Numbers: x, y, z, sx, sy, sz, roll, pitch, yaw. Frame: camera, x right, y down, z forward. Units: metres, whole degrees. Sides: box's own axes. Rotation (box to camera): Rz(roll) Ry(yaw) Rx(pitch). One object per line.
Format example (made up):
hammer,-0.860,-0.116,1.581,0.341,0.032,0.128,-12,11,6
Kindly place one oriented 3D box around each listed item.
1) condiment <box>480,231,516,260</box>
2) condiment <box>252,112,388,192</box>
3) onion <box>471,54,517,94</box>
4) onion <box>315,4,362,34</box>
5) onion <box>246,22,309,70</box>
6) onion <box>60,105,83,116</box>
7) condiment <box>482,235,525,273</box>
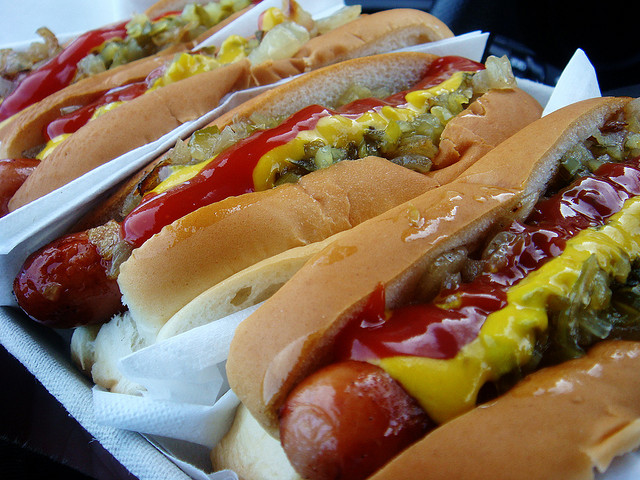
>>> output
condiment,0.574,0.009,1.874,0.032,0.080,0.136,-10,-13,-23
condiment,0.003,-0.309,2.171,0.407,0.096,0.122,-29,47,-29
onion,0.718,-0.676,2.439,0.155,0.157,0.044,-51,3,8
onion,0.107,-1.165,3.152,0.245,0.061,0.150,-32,29,-23
onion,-0.173,-0.894,2.806,0.305,0.072,0.174,-34,51,7
onion,-1.113,-0.579,2.643,0.118,0.029,0.031,-28,-4,-39
condiment,0.569,0.038,1.868,0.145,0.081,0.042,-46,35,-12
